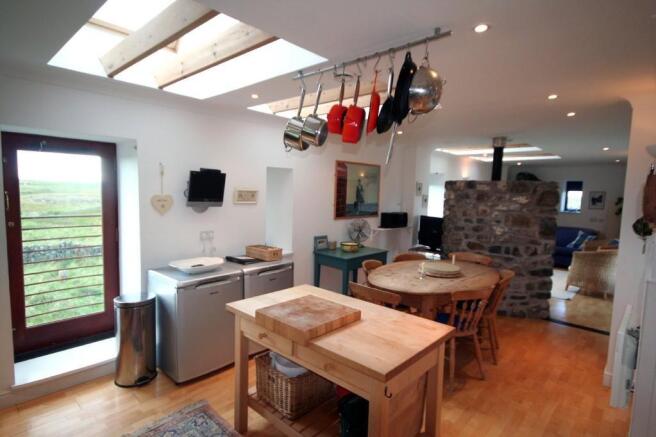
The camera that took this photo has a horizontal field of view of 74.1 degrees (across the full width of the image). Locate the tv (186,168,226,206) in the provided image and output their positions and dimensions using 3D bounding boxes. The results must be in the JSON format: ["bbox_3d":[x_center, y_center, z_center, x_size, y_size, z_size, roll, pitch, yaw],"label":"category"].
[{"bbox_3d":[-1.429,-0.362,5.013,0.446,0.419,0.152,-1,17,-40],"label":"tv"}]

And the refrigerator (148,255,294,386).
[{"bbox_3d":[-1.228,0.948,5.194,2.034,1.400,1.101,-7,12,-44],"label":"refrigerator"}]

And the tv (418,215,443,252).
[{"bbox_3d":[1.743,0.273,7.374,0.235,0.657,0.619,-2,3,-35],"label":"tv"}]

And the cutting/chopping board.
[{"bbox_3d":[-0.169,0.816,3.636,0.462,0.087,0.436,12,16,43],"label":"cutting/chopping board"}]

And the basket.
[{"bbox_3d":[-0.351,1.453,4.000,0.544,0.270,0.549,6,6,43],"label":"basket"}]

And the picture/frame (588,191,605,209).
[{"bbox_3d":[6.455,-0.436,10.413,0.030,0.561,0.433,10,-9,-38],"label":"picture/frame"}]

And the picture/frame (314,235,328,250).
[{"bbox_3d":[-0.117,0.360,6.396,0.231,0.178,0.032,-1,1,-41],"label":"picture/frame"}]

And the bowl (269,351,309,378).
[{"bbox_3d":[-0.382,1.364,3.996,0.283,0.108,0.221,-2,10,-34],"label":"bowl"}]

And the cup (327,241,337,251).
[{"bbox_3d":[0.089,0.405,6.558,0.109,0.164,0.195,7,9,35],"label":"cup"}]

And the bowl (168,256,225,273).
[{"bbox_3d":[-1.456,0.509,4.855,0.336,0.055,0.254,-7,12,-40],"label":"bowl"}]

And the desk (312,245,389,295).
[{"bbox_3d":[0.375,0.543,6.437,1.003,0.875,0.730,-6,10,-44],"label":"desk"}]

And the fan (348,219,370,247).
[{"bbox_3d":[0.472,0.222,6.898,0.477,0.465,0.219,2,1,-32],"label":"fan"}]

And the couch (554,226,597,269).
[{"bbox_3d":[4.947,0.609,8.714,0.584,0.618,0.947,2,0,25],"label":"couch"}]

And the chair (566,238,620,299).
[{"bbox_3d":[4.409,0.826,7.469,0.906,1.024,0.935,5,0,-30],"label":"chair"}]
